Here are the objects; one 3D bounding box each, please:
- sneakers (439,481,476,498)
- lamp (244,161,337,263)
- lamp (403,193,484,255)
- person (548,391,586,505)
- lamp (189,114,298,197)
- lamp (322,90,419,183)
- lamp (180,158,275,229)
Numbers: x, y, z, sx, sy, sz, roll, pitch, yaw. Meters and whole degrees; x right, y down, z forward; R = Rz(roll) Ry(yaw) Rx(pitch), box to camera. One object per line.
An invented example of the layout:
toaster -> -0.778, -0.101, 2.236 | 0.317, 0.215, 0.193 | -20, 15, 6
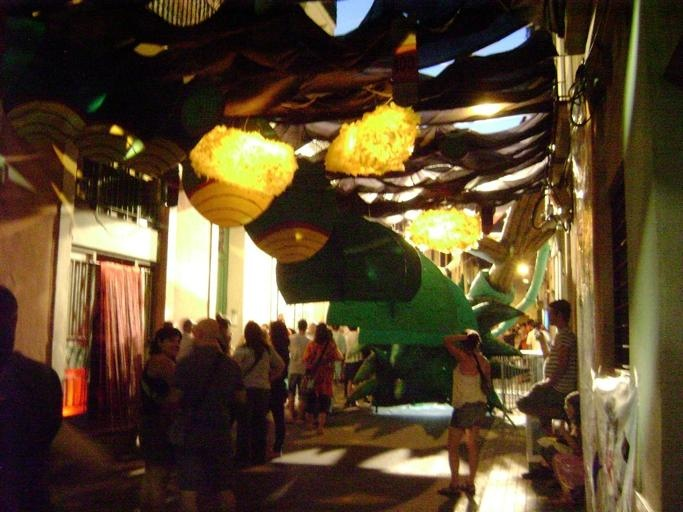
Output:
sneakers -> 1.358, 2.719, 7.058 | 0.409, 0.198, 0.161 | 2, -11, 1
lamp -> -0.526, -0.347, 5.873 | 0.919, 0.824, 1.049 | -8, -15, -18
lamp -> 1.444, -0.385, 8.649 | 1.000, 0.421, 1.253 | -10, -14, 33
person -> 2.555, 2.133, 6.810 | 0.329, 1.148, 0.820 | 0, -6, 19
lamp -> -0.785, -0.782, 4.823 | 0.764, 0.533, 0.182 | 24, -14, -19
lamp -> 0.223, -1.054, 5.350 | 0.724, 0.330, 1.052 | 2, -18, -41
lamp -> -0.976, -0.528, 4.989 | 0.652, 0.488, 0.654 | -1, -24, -39
